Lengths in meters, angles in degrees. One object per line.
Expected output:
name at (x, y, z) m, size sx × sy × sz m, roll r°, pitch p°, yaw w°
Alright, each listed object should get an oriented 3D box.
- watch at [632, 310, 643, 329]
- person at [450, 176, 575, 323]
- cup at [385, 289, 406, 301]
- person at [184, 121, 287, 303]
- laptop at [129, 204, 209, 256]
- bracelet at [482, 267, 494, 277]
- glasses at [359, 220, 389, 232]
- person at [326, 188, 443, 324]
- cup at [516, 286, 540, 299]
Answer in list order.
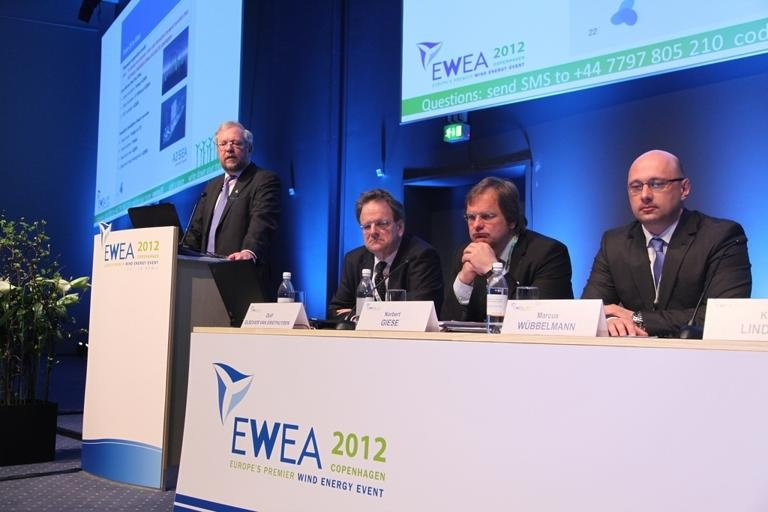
watch at (1.089, 0.275, 2.822) m, size 0.068 × 0.065 × 0.035 m, roll 4°, pitch -6°, yaw -27°
person at (0.593, -0.042, 3.165) m, size 0.597 × 0.719 × 0.382 m, roll 6°, pitch -7°, yaw -40°
cup at (0.052, 0.161, 2.739) m, size 0.085 × 0.059 × 0.046 m, roll -1°, pitch 3°, yaw -11°
person at (-0.971, -0.345, 4.190) m, size 0.590 × 1.145 × 1.094 m, roll 3°, pitch -6°, yaw -17°
laptop at (-1.132, -0.190, 3.448) m, size 0.346 × 0.219 × 0.301 m, roll -3°, pitch -11°, yaw 37°
bracelet at (0.466, 0.073, 2.914) m, size 0.032 × 0.025 × 0.033 m, roll 1°, pitch -9°, yaw -12°
glasses at (-0.058, -0.172, 3.706) m, size 0.183 × 0.063 × 0.056 m, roll -1°, pitch -6°, yaw 25°
person at (-0.041, -0.023, 3.739) m, size 0.692 × 0.747 × 0.432 m, roll -2°, pitch -6°, yaw 28°
cup at (0.536, 0.144, 2.448) m, size 0.064 × 0.048 × 0.065 m, roll 0°, pitch -6°, yaw 0°
